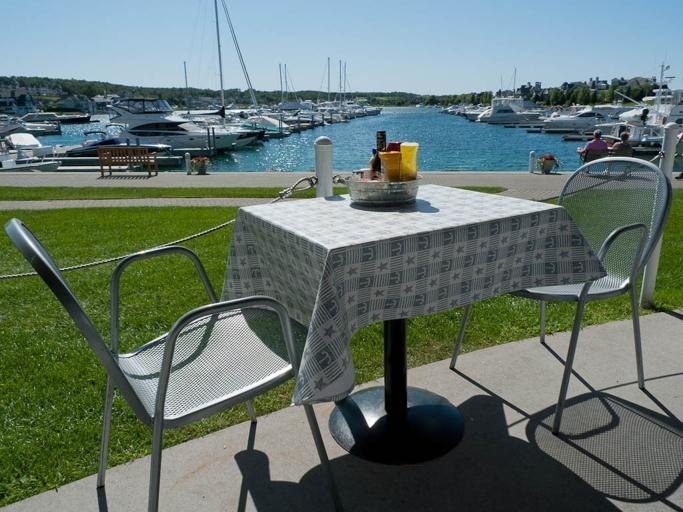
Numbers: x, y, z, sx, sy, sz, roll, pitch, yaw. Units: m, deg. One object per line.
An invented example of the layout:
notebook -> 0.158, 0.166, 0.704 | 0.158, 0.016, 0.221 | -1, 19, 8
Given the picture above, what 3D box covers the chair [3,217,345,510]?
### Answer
chair -> -0.766, 0.186, 3.217 | 1.731, 2.116, 1.224 | -19, 32, -27
